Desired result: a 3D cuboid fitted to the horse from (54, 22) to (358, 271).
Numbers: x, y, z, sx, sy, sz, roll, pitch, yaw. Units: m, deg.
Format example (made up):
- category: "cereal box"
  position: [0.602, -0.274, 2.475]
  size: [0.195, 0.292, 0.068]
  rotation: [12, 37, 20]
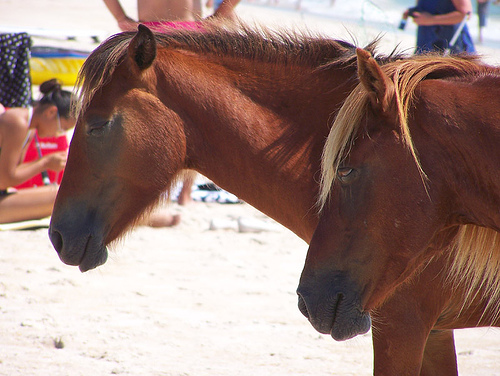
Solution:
- category: "horse"
  position: [-0.150, -0.221, 5.765]
  size: [0.592, 1.400, 2.944]
  rotation: [8, 3, 39]
